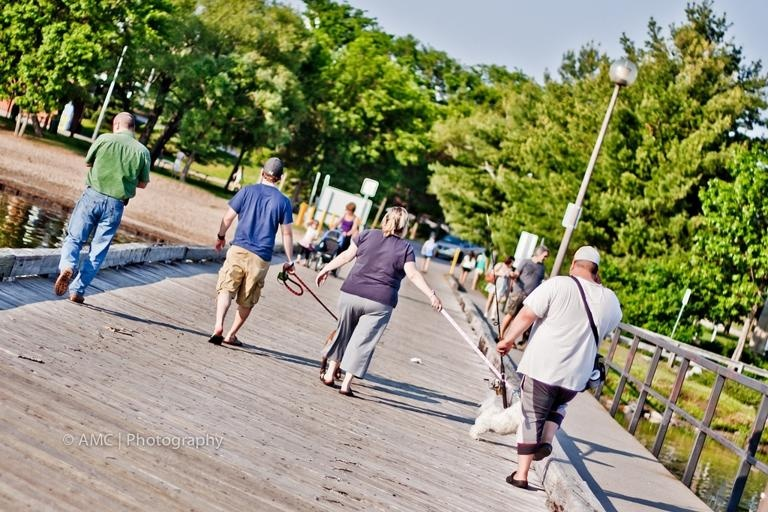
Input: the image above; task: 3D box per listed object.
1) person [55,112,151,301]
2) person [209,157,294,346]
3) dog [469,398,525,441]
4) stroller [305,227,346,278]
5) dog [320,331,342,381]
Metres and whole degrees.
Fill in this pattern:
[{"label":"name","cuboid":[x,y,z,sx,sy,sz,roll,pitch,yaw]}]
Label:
[{"label":"person","cuboid":[-4.437,-0.917,13.930,1.069,3.273,1.284,6,1,10]},{"label":"person","cuboid":[-2.106,-0.064,13.903,1.142,2.558,0.968,15,4,-11]},{"label":"dog","cuboid":[1.797,2.364,12.810,0.355,0.702,1.172,12,-16,-37]},{"label":"stroller","cuboid":[-1.896,-0.118,24.763,0.744,1.471,1.705,2,0,-4]},{"label":"dog","cuboid":[-0.827,1.593,13.812,0.173,0.778,0.410,10,-20,9]}]
